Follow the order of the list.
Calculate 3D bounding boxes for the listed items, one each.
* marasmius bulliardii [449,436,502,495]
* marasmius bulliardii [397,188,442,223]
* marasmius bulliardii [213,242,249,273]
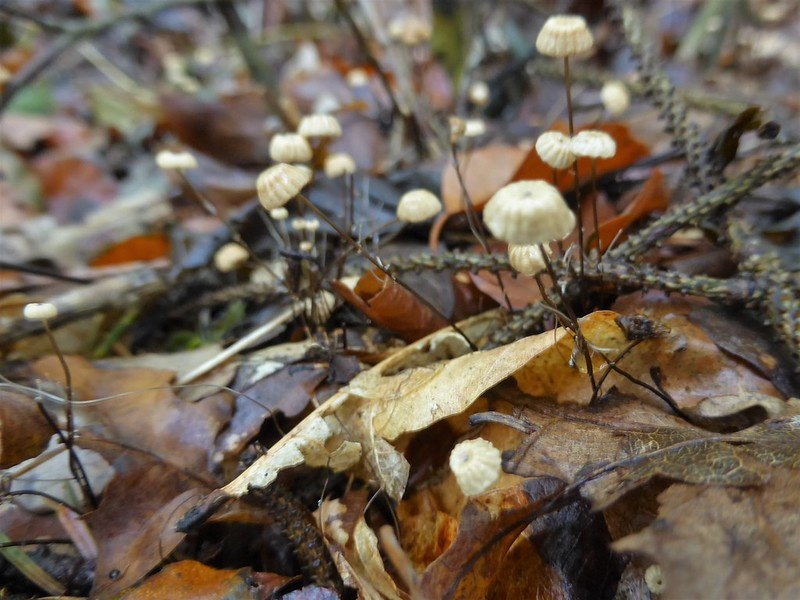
[{"bbox_3d":[0.136,0.299,1.367,0.086,0.073,0.074,-31,27,-34],"label":"marasmius bulliardii"},{"bbox_3d":[0.046,-0.223,1.726,0.087,0.052,0.094,18,40,34],"label":"marasmius bulliardii"},{"bbox_3d":[-0.412,-0.102,1.821,0.104,0.066,0.044,-6,24,23],"label":"marasmius bulliardii"}]
